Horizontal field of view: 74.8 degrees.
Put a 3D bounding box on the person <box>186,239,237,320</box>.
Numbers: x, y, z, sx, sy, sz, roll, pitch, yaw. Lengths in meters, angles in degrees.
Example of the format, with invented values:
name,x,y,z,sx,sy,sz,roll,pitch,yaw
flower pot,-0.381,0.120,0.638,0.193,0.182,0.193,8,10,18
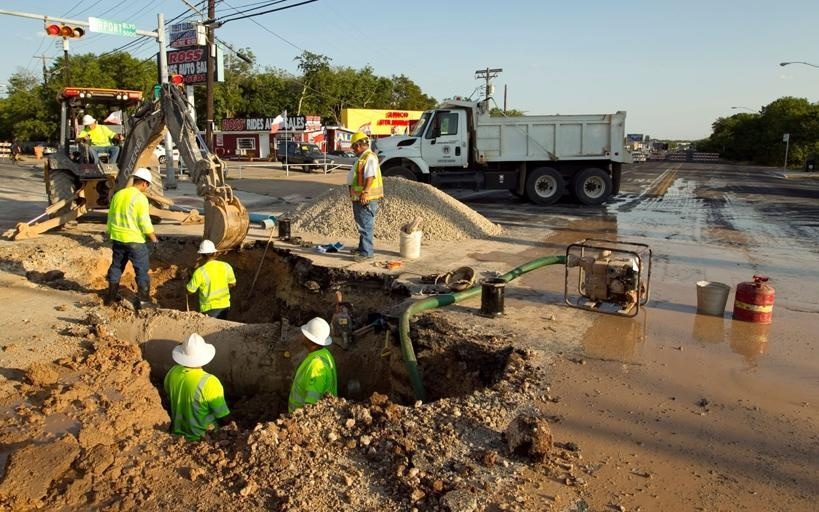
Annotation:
name,x,y,z,sx,sy,sz,roll,pitch,yaw
person,-3.450,0.749,9.305,0.863,1.914,0.759,-5,18,-34

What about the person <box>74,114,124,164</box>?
name,x,y,z,sx,sy,sz,roll,pitch,yaw
person,-7.467,-2.746,12.986,0.669,1.330,0.871,-5,19,40

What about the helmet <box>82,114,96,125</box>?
name,x,y,z,sx,sy,sz,roll,pitch,yaw
helmet,-7.719,-3.262,12.982,0.383,0.192,0.312,15,32,40

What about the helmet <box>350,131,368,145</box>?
name,x,y,z,sx,sy,sz,roll,pitch,yaw
helmet,-1.030,-2.272,10.531,0.322,0.163,0.239,-15,13,40

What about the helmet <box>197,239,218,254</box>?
name,x,y,z,sx,sy,sz,roll,pitch,yaw
helmet,-3.553,-0.162,9.409,0.259,0.168,0.317,0,6,-20

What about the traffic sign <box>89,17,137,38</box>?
name,x,y,z,sx,sy,sz,roll,pitch,yaw
traffic sign,-9.616,-7.358,17.338,1.277,0.539,1.625,-5,14,-23

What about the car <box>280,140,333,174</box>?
name,x,y,z,sx,sy,sz,roll,pitch,yaw
car,-6.408,-5.837,31.796,3.607,1.476,1.812,13,15,37

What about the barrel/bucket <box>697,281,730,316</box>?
name,x,y,z,sx,sy,sz,roll,pitch,yaw
barrel/bucket,4.906,0.689,8.571,0.497,0.402,0.541,2,1,0

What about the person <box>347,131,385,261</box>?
name,x,y,z,sx,sy,sz,roll,pitch,yaw
person,-0.858,-1.193,10.557,0.576,2.395,0.655,-3,14,-18

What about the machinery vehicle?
name,x,y,z,sx,sy,sz,roll,pitch,yaw
machinery vehicle,-5.850,-1.974,11.602,5.280,2.491,4.228,12,15,43

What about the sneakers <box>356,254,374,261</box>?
name,x,y,z,sx,sy,sz,roll,pitch,yaw
sneakers,-0.889,0.027,10.479,0.300,0.129,0.125,4,3,-12

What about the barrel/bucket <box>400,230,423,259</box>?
name,x,y,z,sx,sy,sz,roll,pitch,yaw
barrel/bucket,0.108,-0.218,10.814,0.531,0.519,0.521,1,4,0

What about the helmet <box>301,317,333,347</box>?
name,x,y,z,sx,sy,sz,roll,pitch,yaw
helmet,-1.195,0.952,6.915,0.381,0.202,0.392,-2,39,-46

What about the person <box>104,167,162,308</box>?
name,x,y,z,sx,sy,sz,roll,pitch,yaw
person,-4.761,-0.261,9.096,0.810,2.150,0.598,-5,14,-26

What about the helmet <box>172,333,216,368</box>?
name,x,y,z,sx,sy,sz,roll,pitch,yaw
helmet,-2.744,1.214,6.789,0.501,0.233,0.471,11,23,17

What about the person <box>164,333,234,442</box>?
name,x,y,z,sx,sy,sz,roll,pitch,yaw
person,-2.709,1.675,6.766,0.919,1.343,0.519,10,16,35

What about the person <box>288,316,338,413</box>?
name,x,y,z,sx,sy,sz,roll,pitch,yaw
person,-1.213,1.421,6.767,0.621,1.127,0.685,5,14,17
